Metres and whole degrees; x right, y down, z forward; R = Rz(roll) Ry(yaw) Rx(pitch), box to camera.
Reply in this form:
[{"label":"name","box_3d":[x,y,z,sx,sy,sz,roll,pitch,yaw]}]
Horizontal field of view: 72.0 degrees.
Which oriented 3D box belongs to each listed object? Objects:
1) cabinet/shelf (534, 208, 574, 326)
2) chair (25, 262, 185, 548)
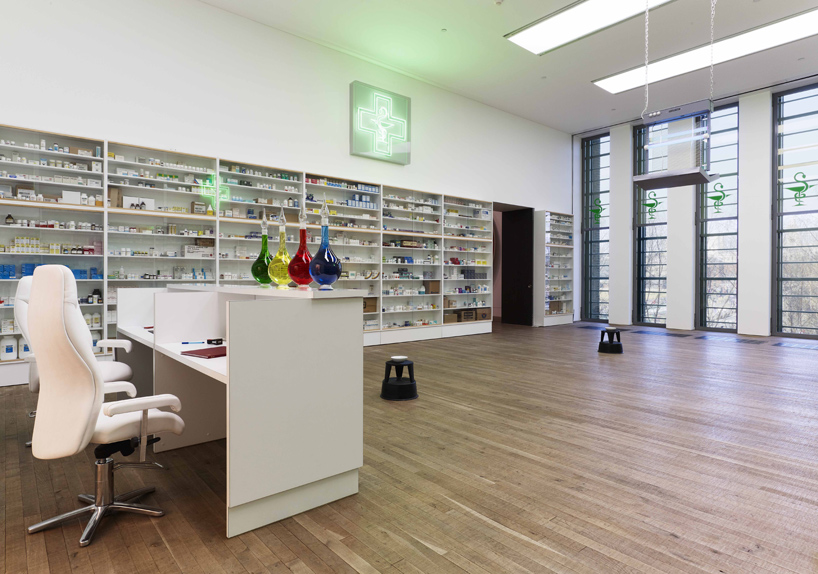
[{"label":"cabinet/shelf","box_3d":[3.533,-0.461,13.778,0.581,2.761,1.332,3,6,38]},{"label":"chair","box_3d":[-2.462,0.903,4.390,1.012,2.153,0.559,-2,5,-24]}]
